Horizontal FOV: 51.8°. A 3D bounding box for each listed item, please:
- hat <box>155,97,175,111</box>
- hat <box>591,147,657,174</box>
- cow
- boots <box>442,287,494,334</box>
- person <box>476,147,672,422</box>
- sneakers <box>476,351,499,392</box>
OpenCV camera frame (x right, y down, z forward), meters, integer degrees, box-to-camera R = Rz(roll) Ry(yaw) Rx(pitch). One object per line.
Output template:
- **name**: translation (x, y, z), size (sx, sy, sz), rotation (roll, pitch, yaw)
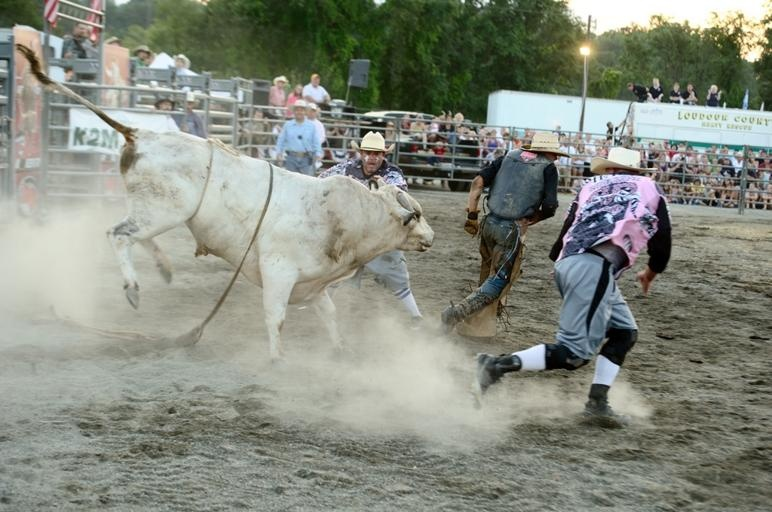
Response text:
- **hat**: translation (-3.473, -2.383, 12.427), size (0.291, 0.221, 0.208), rotation (-8, -11, 23)
- **hat**: translation (2.024, -0.835, 6.948), size (0.372, 0.110, 0.337), rotation (5, 2, 15)
- **cow**: translation (-1.614, -0.350, 7.508), size (4.486, 1.747, 1.164), rotation (14, 11, 10)
- **boots**: translation (0.876, 0.544, 8.033), size (0.803, 0.224, 0.254), rotation (-15, 45, -45)
- **person**: translation (1.690, 0.189, 6.833), size (1.438, 2.312, 0.640), rotation (4, 9, -9)
- **sneakers**: translation (0.838, 0.998, 6.692), size (0.156, 0.313, 0.180), rotation (1, 10, -31)
